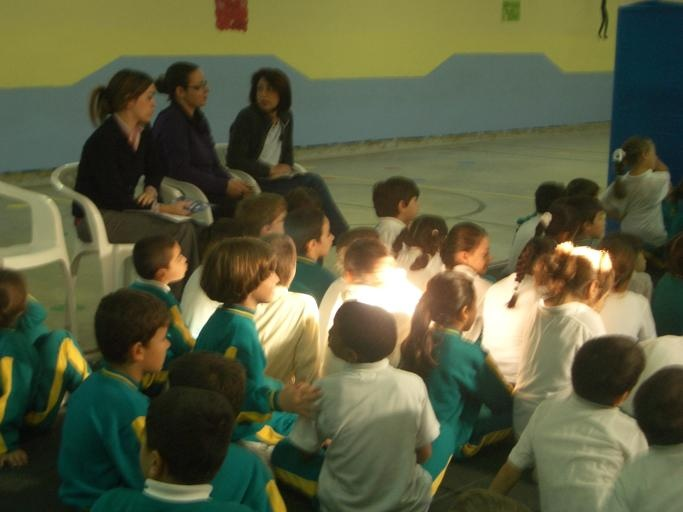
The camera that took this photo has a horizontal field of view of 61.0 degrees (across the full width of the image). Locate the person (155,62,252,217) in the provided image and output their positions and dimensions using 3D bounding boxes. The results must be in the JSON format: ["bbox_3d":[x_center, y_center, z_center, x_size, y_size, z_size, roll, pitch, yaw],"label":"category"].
[{"bbox_3d":[-1.113,-0.888,4.749,0.742,1.225,0.652,2,18,-7],"label":"person"}]
